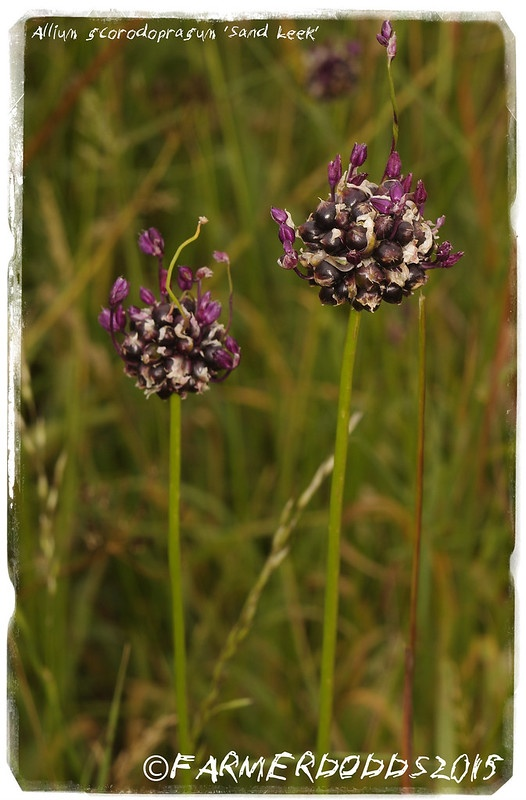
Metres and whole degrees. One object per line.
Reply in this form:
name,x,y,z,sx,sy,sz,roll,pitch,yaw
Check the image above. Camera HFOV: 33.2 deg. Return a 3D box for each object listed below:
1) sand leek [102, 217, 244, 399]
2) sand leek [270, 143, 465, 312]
sand leek,-0.130,-0.133,1.583,0.279,0.284,0.392,0,87,3
sand leek,0.163,-0.263,1.310,0.270,0.188,0.216,-23,52,-17
